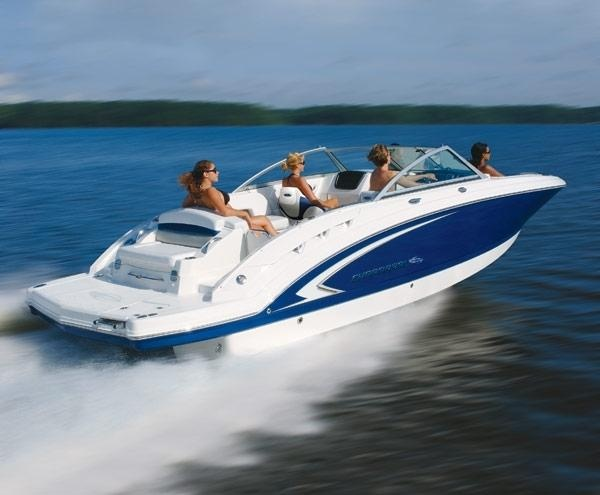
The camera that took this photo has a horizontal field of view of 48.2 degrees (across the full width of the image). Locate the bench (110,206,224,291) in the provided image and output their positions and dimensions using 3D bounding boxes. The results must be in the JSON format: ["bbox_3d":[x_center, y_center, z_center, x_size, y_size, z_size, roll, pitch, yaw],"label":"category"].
[{"bbox_3d":[-1.229,-0.045,6.991,0.924,0.454,1.387,13,29,37],"label":"bench"}]

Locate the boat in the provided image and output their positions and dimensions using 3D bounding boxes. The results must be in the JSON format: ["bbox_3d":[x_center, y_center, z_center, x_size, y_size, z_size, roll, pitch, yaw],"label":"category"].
[{"bbox_3d":[1.047,-0.156,7.988,7.673,1.303,2.158,-8,11,-25],"label":"boat"}]

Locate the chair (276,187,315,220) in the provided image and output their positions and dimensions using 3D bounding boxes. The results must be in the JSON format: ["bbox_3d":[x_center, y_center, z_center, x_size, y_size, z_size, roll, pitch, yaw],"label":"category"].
[{"bbox_3d":[-0.066,-0.511,7.769,0.433,0.309,0.542,19,26,36],"label":"chair"}]

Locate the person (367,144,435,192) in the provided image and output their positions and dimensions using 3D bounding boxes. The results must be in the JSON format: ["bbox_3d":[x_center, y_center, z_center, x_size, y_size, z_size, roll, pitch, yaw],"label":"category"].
[{"bbox_3d":[1.414,-0.920,7.753,1.001,0.530,0.504,-4,20,15],"label":"person"}]
